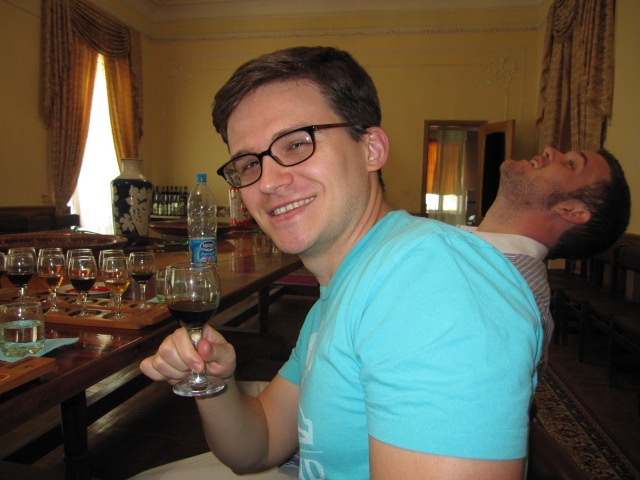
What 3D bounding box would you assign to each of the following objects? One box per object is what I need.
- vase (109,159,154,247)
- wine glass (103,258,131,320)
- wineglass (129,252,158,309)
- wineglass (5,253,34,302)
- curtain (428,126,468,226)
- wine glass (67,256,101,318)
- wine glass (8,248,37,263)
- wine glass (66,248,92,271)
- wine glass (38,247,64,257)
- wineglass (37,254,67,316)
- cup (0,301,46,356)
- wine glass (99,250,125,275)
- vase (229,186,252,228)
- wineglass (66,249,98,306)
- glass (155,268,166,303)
[{"bbox_3d":[-1.038,-0.203,2.737,0.212,0.491,0.354,-3,12,-23],"label":"vase"},{"bbox_3d":[-0.717,0.165,1.749,0.093,0.185,0.352,-3,12,-21],"label":"wine glass"},{"bbox_3d":[-0.705,0.156,1.962,0.097,0.225,0.102,2,4,37],"label":"wineglass"},{"bbox_3d":[-1.119,0.129,1.850,0.090,0.170,0.206,-8,14,-41],"label":"wineglass"},{"bbox_3d":[2.377,-1.172,9.120,0.692,2.429,0.206,1,52,13],"label":"curtain"},{"bbox_3d":[-0.816,0.156,1.702,0.091,0.167,0.200,-4,12,-27],"label":"wine glass"},{"bbox_3d":[-1.134,0.058,1.884,0.062,0.065,0.064,-1,-2,-1],"label":"wine glass"},{"bbox_3d":[-0.916,0.061,1.867,0.085,0.088,0.087,3,4,43],"label":"wine glass"},{"bbox_3d":[-1.039,0.043,1.913,0.037,0.039,0.038,0,-3,-5],"label":"wine glass"},{"bbox_3d":[-0.968,0.144,1.793,0.095,0.173,0.392,-5,13,-29],"label":"wineglass"},{"bbox_3d":[-0.836,0.244,1.405,0.128,0.150,0.134,-1,-2,0],"label":"cup"},{"bbox_3d":[-0.777,0.073,1.831,0.086,0.091,0.090,-1,3,-2],"label":"wine glass"},{"bbox_3d":[-0.646,-0.257,4.022,0.160,0.345,0.450,-1,11,-9],"label":"vase"},{"bbox_3d":[-0.884,0.139,1.851,0.110,0.199,0.118,-5,-5,22],"label":"wineglass"},{"bbox_3d":[-0.596,0.165,1.846,0.033,0.095,0.192,-2,12,-18],"label":"glass"}]
